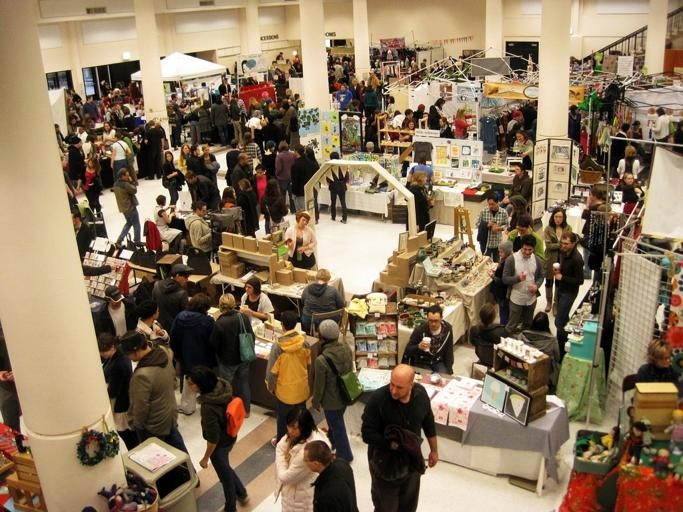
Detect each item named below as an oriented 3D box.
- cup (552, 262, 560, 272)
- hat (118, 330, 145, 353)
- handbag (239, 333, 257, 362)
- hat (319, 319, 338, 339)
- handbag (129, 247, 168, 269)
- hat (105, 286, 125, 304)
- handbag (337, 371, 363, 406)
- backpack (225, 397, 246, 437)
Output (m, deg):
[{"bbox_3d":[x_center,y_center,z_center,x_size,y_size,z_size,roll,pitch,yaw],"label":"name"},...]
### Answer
[{"bbox_3d":[2.913,0.143,6.936,0.098,0.113,0.104,-4,23,2],"label":"cup"},{"bbox_3d":[-1.993,0.820,4.914,0.242,0.178,0.251,-5,15,-6],"label":"hat"},{"bbox_3d":[-1.071,1.049,5.861,0.196,0.394,0.085,-14,17,-37],"label":"handbag"},{"bbox_3d":[-0.118,0.702,5.089,0.153,0.207,0.205,-3,37,-12],"label":"hat"},{"bbox_3d":[-3.238,0.021,8.484,0.488,0.344,0.121,15,-6,18],"label":"handbag"},{"bbox_3d":[-2.811,0.472,6.391,0.244,0.216,0.226,-15,18,-37],"label":"hat"},{"bbox_3d":[0.090,1.321,5.101,0.218,0.346,0.116,-14,18,-38],"label":"handbag"},{"bbox_3d":[-0.973,1.518,4.768,0.131,0.423,0.319,-3,14,1],"label":"backpack"}]
